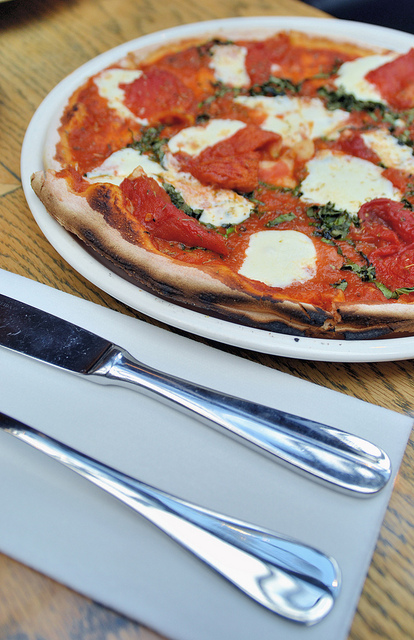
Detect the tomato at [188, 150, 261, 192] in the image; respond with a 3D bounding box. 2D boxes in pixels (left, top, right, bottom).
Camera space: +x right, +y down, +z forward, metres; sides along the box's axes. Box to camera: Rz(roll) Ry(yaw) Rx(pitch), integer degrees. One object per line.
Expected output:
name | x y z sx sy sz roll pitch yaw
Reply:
tomato | 0.036 -0.212 0.864 0.075 0.026 0.059 1 37 2
